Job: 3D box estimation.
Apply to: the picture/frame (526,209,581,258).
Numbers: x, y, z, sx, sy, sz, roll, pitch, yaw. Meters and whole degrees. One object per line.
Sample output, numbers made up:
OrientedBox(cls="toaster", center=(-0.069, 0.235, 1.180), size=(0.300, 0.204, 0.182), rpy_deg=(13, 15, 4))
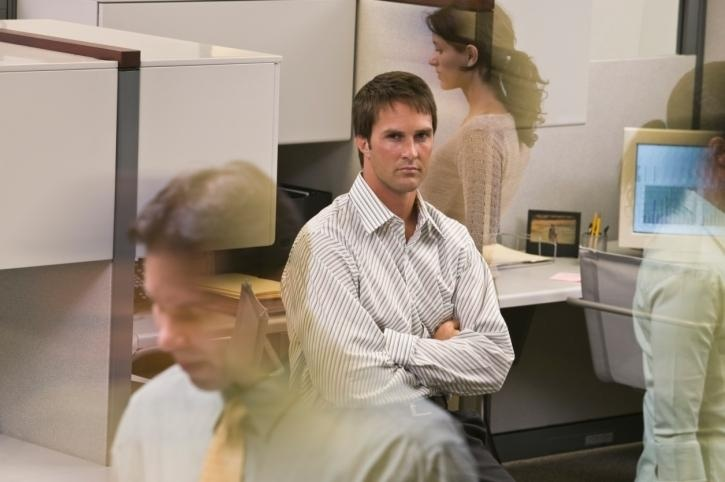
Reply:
OrientedBox(cls="picture/frame", center=(0.527, -0.018, 1.583), size=(0.125, 0.117, 0.014), rpy_deg=(3, -6, -10))

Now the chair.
OrientedBox(cls="chair", center=(0.507, 0.110, 1.042), size=(0.218, 0.270, 0.211), rpy_deg=(5, 28, 33))
